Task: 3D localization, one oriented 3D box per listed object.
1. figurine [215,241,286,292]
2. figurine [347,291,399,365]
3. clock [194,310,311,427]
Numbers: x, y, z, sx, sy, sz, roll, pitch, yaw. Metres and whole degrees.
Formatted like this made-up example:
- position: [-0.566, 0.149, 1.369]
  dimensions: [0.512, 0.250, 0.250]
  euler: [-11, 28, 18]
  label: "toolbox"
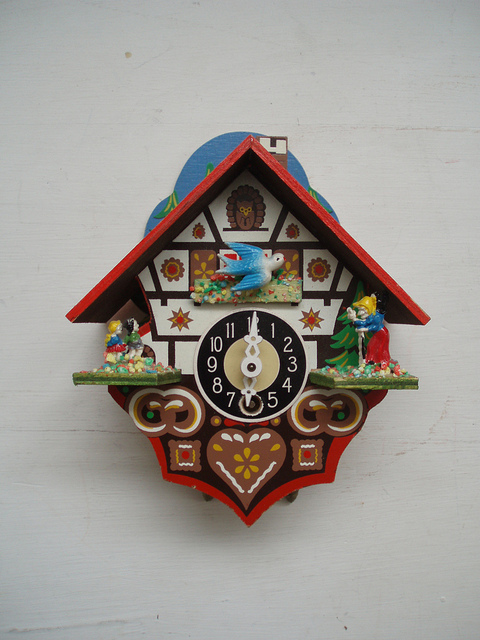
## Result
- position: [0.024, -0.143, 4.124]
  dimensions: [0.194, 0.076, 0.133]
  euler: [-6, 72, 7]
  label: "figurine"
- position: [0.340, 0.037, 4.095]
  dimensions: [0.120, 0.097, 0.204]
  euler: [-9, 102, -18]
  label: "figurine"
- position: [0.027, 0.127, 4.130]
  dimensions: [0.343, 0.034, 0.310]
  euler: [0, 89, 28]
  label: "clock"
